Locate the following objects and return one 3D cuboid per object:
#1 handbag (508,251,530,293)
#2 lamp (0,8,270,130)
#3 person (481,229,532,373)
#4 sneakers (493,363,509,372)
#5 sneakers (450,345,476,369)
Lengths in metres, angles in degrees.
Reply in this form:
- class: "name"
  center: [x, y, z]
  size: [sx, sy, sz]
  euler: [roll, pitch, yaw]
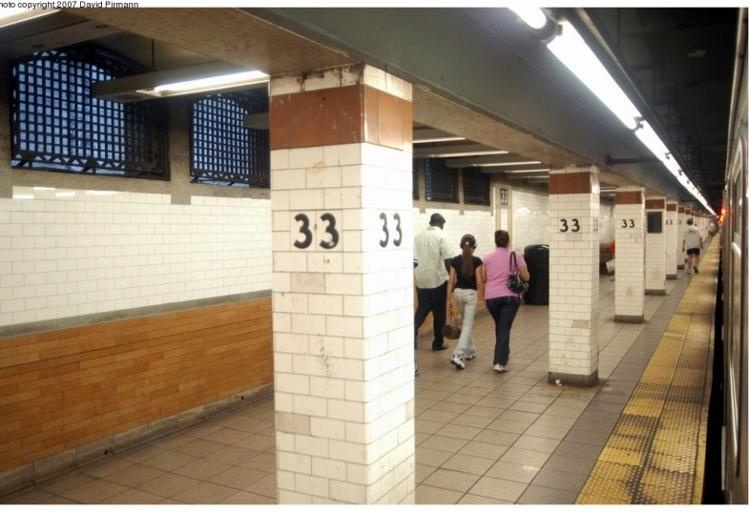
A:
- class: "handbag"
  center: [2.397, 0.298, 8.736]
  size: [0.313, 0.760, 0.484]
  euler: [1, 9, 19]
- class: "lamp"
  center: [-2.614, -2.184, 5.805]
  size: [2.481, 0.563, 1.496]
  euler: [-5, 9, -26]
- class: "person"
  center: [2.223, 0.813, 8.980]
  size: [0.750, 2.508, 0.752]
  euler: [0, 9, 11]
- class: "sneakers"
  center: [2.186, 1.959, 9.127]
  size: [0.106, 0.120, 0.281]
  euler: [6, 12, 35]
- class: "sneakers"
  center: [1.616, 1.910, 9.646]
  size: [0.215, 0.286, 0.660]
  euler: [3, 8, 29]
